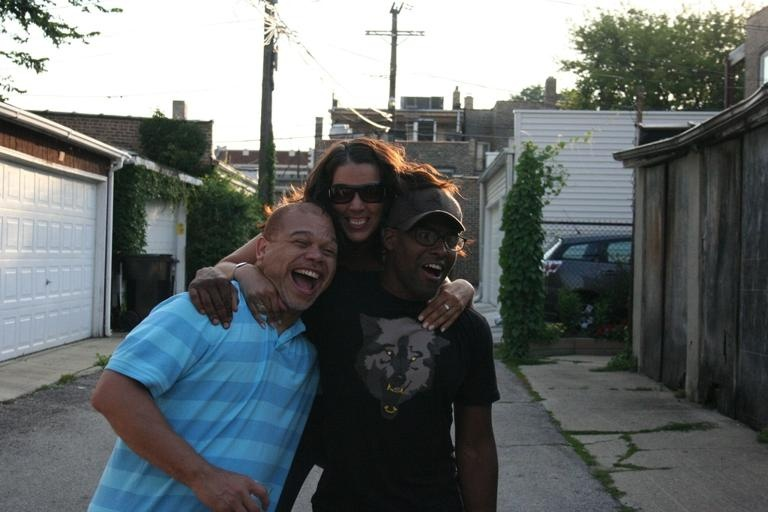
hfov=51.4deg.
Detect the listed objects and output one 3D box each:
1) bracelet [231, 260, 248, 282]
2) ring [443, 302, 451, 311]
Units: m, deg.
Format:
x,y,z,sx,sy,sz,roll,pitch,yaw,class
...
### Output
x,y,z,sx,sy,sz,roll,pitch,yaw,class
-1.158,0.105,6.361,0.048,0.123,0.132,-1,-13,17,bracelet
0.521,0.407,6.407,0.026,0.053,0.071,-31,33,-30,ring
